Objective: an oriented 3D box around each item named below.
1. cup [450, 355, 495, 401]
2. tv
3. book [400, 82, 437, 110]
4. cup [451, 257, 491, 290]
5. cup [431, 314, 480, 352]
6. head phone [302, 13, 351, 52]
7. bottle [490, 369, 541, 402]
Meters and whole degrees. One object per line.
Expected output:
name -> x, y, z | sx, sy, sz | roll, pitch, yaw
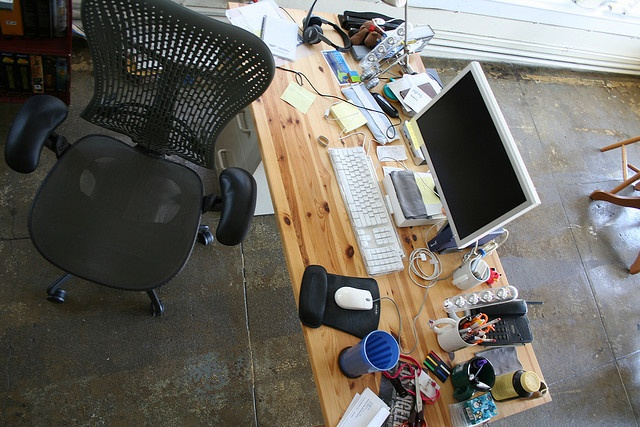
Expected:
cup -> 0.743, 0.815, 2.227 | 0.162, 0.138, 0.104 | -38, 87, -21
tv -> 0.816, -0.338, 2.349 | 0.250, 0.562, 0.821 | 15, 52, -45
book -> 0.606, -0.734, 2.770 | 0.200, 0.048, 0.200 | -29, 79, -20
cup -> 0.774, 0.320, 2.392 | 0.200, 0.176, 0.131 | -7, 64, -50
cup -> 0.705, 0.600, 2.349 | 0.136, 0.196, 0.238 | -33, 101, -37
head phone -> 0.026, -1.114, 2.859 | 0.270, 0.100, 0.233 | 19, 45, -22
bottle -> 0.976, 0.868, 2.299 | 0.133, 0.231, 0.140 | 12, 62, -24
